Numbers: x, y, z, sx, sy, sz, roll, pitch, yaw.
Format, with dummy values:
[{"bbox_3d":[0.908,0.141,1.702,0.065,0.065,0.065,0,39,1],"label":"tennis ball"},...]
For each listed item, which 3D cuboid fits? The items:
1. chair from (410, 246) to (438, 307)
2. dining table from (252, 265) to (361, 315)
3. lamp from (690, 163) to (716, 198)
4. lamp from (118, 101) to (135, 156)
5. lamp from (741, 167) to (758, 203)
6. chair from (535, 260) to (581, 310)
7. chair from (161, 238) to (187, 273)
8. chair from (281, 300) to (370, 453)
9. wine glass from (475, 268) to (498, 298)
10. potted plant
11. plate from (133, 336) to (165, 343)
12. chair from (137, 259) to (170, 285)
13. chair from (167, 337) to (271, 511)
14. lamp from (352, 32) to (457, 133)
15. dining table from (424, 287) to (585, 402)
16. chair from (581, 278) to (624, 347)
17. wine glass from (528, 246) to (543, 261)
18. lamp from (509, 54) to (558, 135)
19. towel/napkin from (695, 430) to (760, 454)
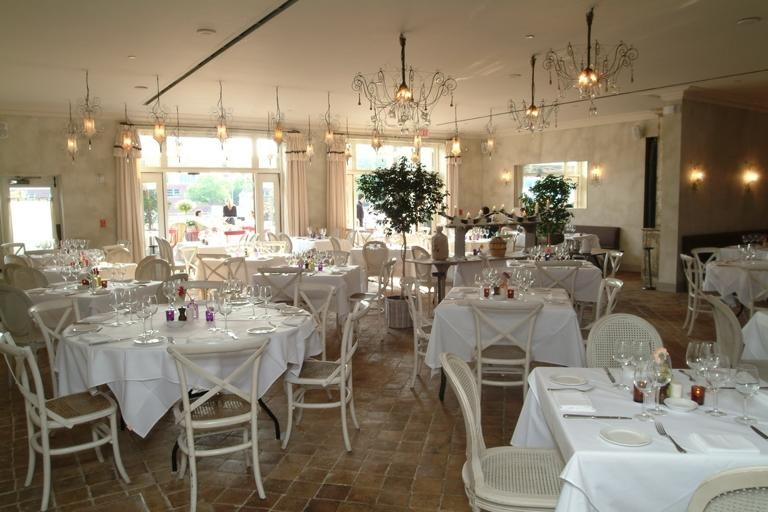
[{"bbox_3d":[0.719,0.120,10.360,0.406,0.541,0.347,10,26,4],"label":"chair"},{"bbox_3d":[-1.424,0.516,8.001,1.736,0.569,1.721,6,-6,-35],"label":"dining table"},{"bbox_3d":[6.722,-1.615,11.835,0.590,0.606,0.141,-2,5,-41],"label":"lamp"},{"bbox_3d":[-5.936,-2.847,12.853,0.531,1.142,0.454,-1,9,-30],"label":"lamp"},{"bbox_3d":[8.439,-1.637,13.047,0.523,0.766,0.249,0,1,-8],"label":"lamp"},{"bbox_3d":[2.580,0.406,8.378,0.687,0.989,0.680,1,11,10],"label":"chair"},{"bbox_3d":[-4.348,-0.019,11.445,0.537,0.744,2.393,-4,5,-20],"label":"chair"},{"bbox_3d":[-0.619,1.230,5.757,0.829,1.334,0.718,1,-2,-9],"label":"chair"},{"bbox_3d":[1.215,0.327,6.792,0.309,0.450,0.314,0,-6,-5],"label":"wine glass"},{"bbox_3d":[0.406,-0.580,9.894,1.698,2.407,1.911,0,4,6],"label":"potted plant"},{"bbox_3d":[-2.136,0.759,5.062,0.289,0.036,0.181,-1,5,11],"label":"plate"},{"bbox_3d":[-3.690,0.252,8.937,0.384,0.688,0.422,-1,6,-34],"label":"chair"},{"bbox_3d":[-1.473,1.394,5.086,0.823,1.463,0.997,-4,7,-20],"label":"chair"},{"bbox_3d":[0.384,-3.289,10.508,1.919,1.671,1.947,-1,0,15],"label":"lamp"},{"bbox_3d":[1.344,0.812,6.212,1.339,0.681,1.362,0,2,12],"label":"dining table"},{"bbox_3d":[2.540,0.615,6.860,0.565,0.730,0.578,19,4,18],"label":"chair"},{"bbox_3d":[2.542,-0.035,9.253,0.261,0.211,0.538,-1,5,7],"label":"wine glass"},{"bbox_3d":[2.736,-2.998,10.245,0.803,1.385,0.810,-6,18,-1],"label":"lamp"},{"bbox_3d":[2.223,1.225,3.649,0.376,0.080,0.147,-2,5,2],"label":"towel/napkin"}]
